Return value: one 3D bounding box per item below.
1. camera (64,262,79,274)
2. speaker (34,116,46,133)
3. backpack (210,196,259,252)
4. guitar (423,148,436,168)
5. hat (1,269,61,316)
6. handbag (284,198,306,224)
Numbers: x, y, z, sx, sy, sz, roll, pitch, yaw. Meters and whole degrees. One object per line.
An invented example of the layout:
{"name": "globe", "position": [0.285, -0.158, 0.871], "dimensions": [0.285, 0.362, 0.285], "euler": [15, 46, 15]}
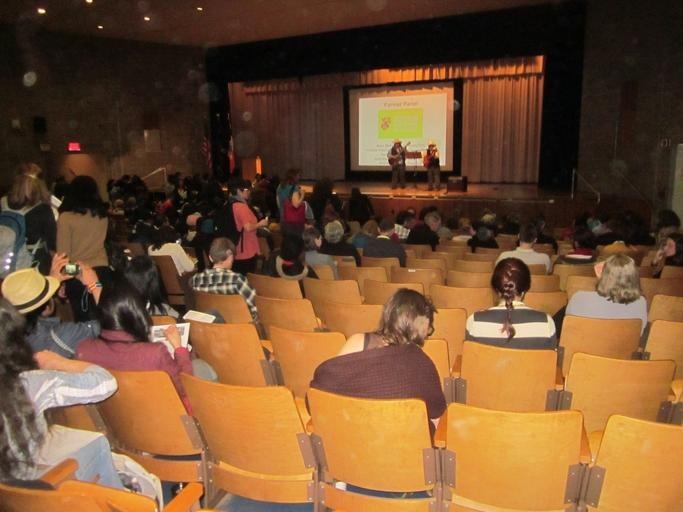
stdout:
{"name": "camera", "position": [-1.720, 0.069, 3.282], "dimensions": [0.069, 0.075, 0.073], "euler": [1, 12, -8]}
{"name": "speaker", "position": [-8.397, -3.618, 14.280], "dimensions": [0.336, 0.487, 0.162], "euler": [-12, 15, -38]}
{"name": "backpack", "position": [-1.174, -0.337, 5.571], "dimensions": [0.630, 0.673, 0.354], "euler": [8, 17, 30]}
{"name": "guitar", "position": [2.398, -2.664, 14.132], "dimensions": [0.197, 0.514, 0.370], "euler": [2, 34, 14]}
{"name": "hat", "position": [-1.628, 0.209, 2.746], "dimensions": [0.258, 0.098, 0.243], "euler": [-11, 51, 0]}
{"name": "handbag", "position": [-0.650, -0.615, 6.975], "dimensions": [0.281, 0.333, 0.127], "euler": [5, 22, 3]}
